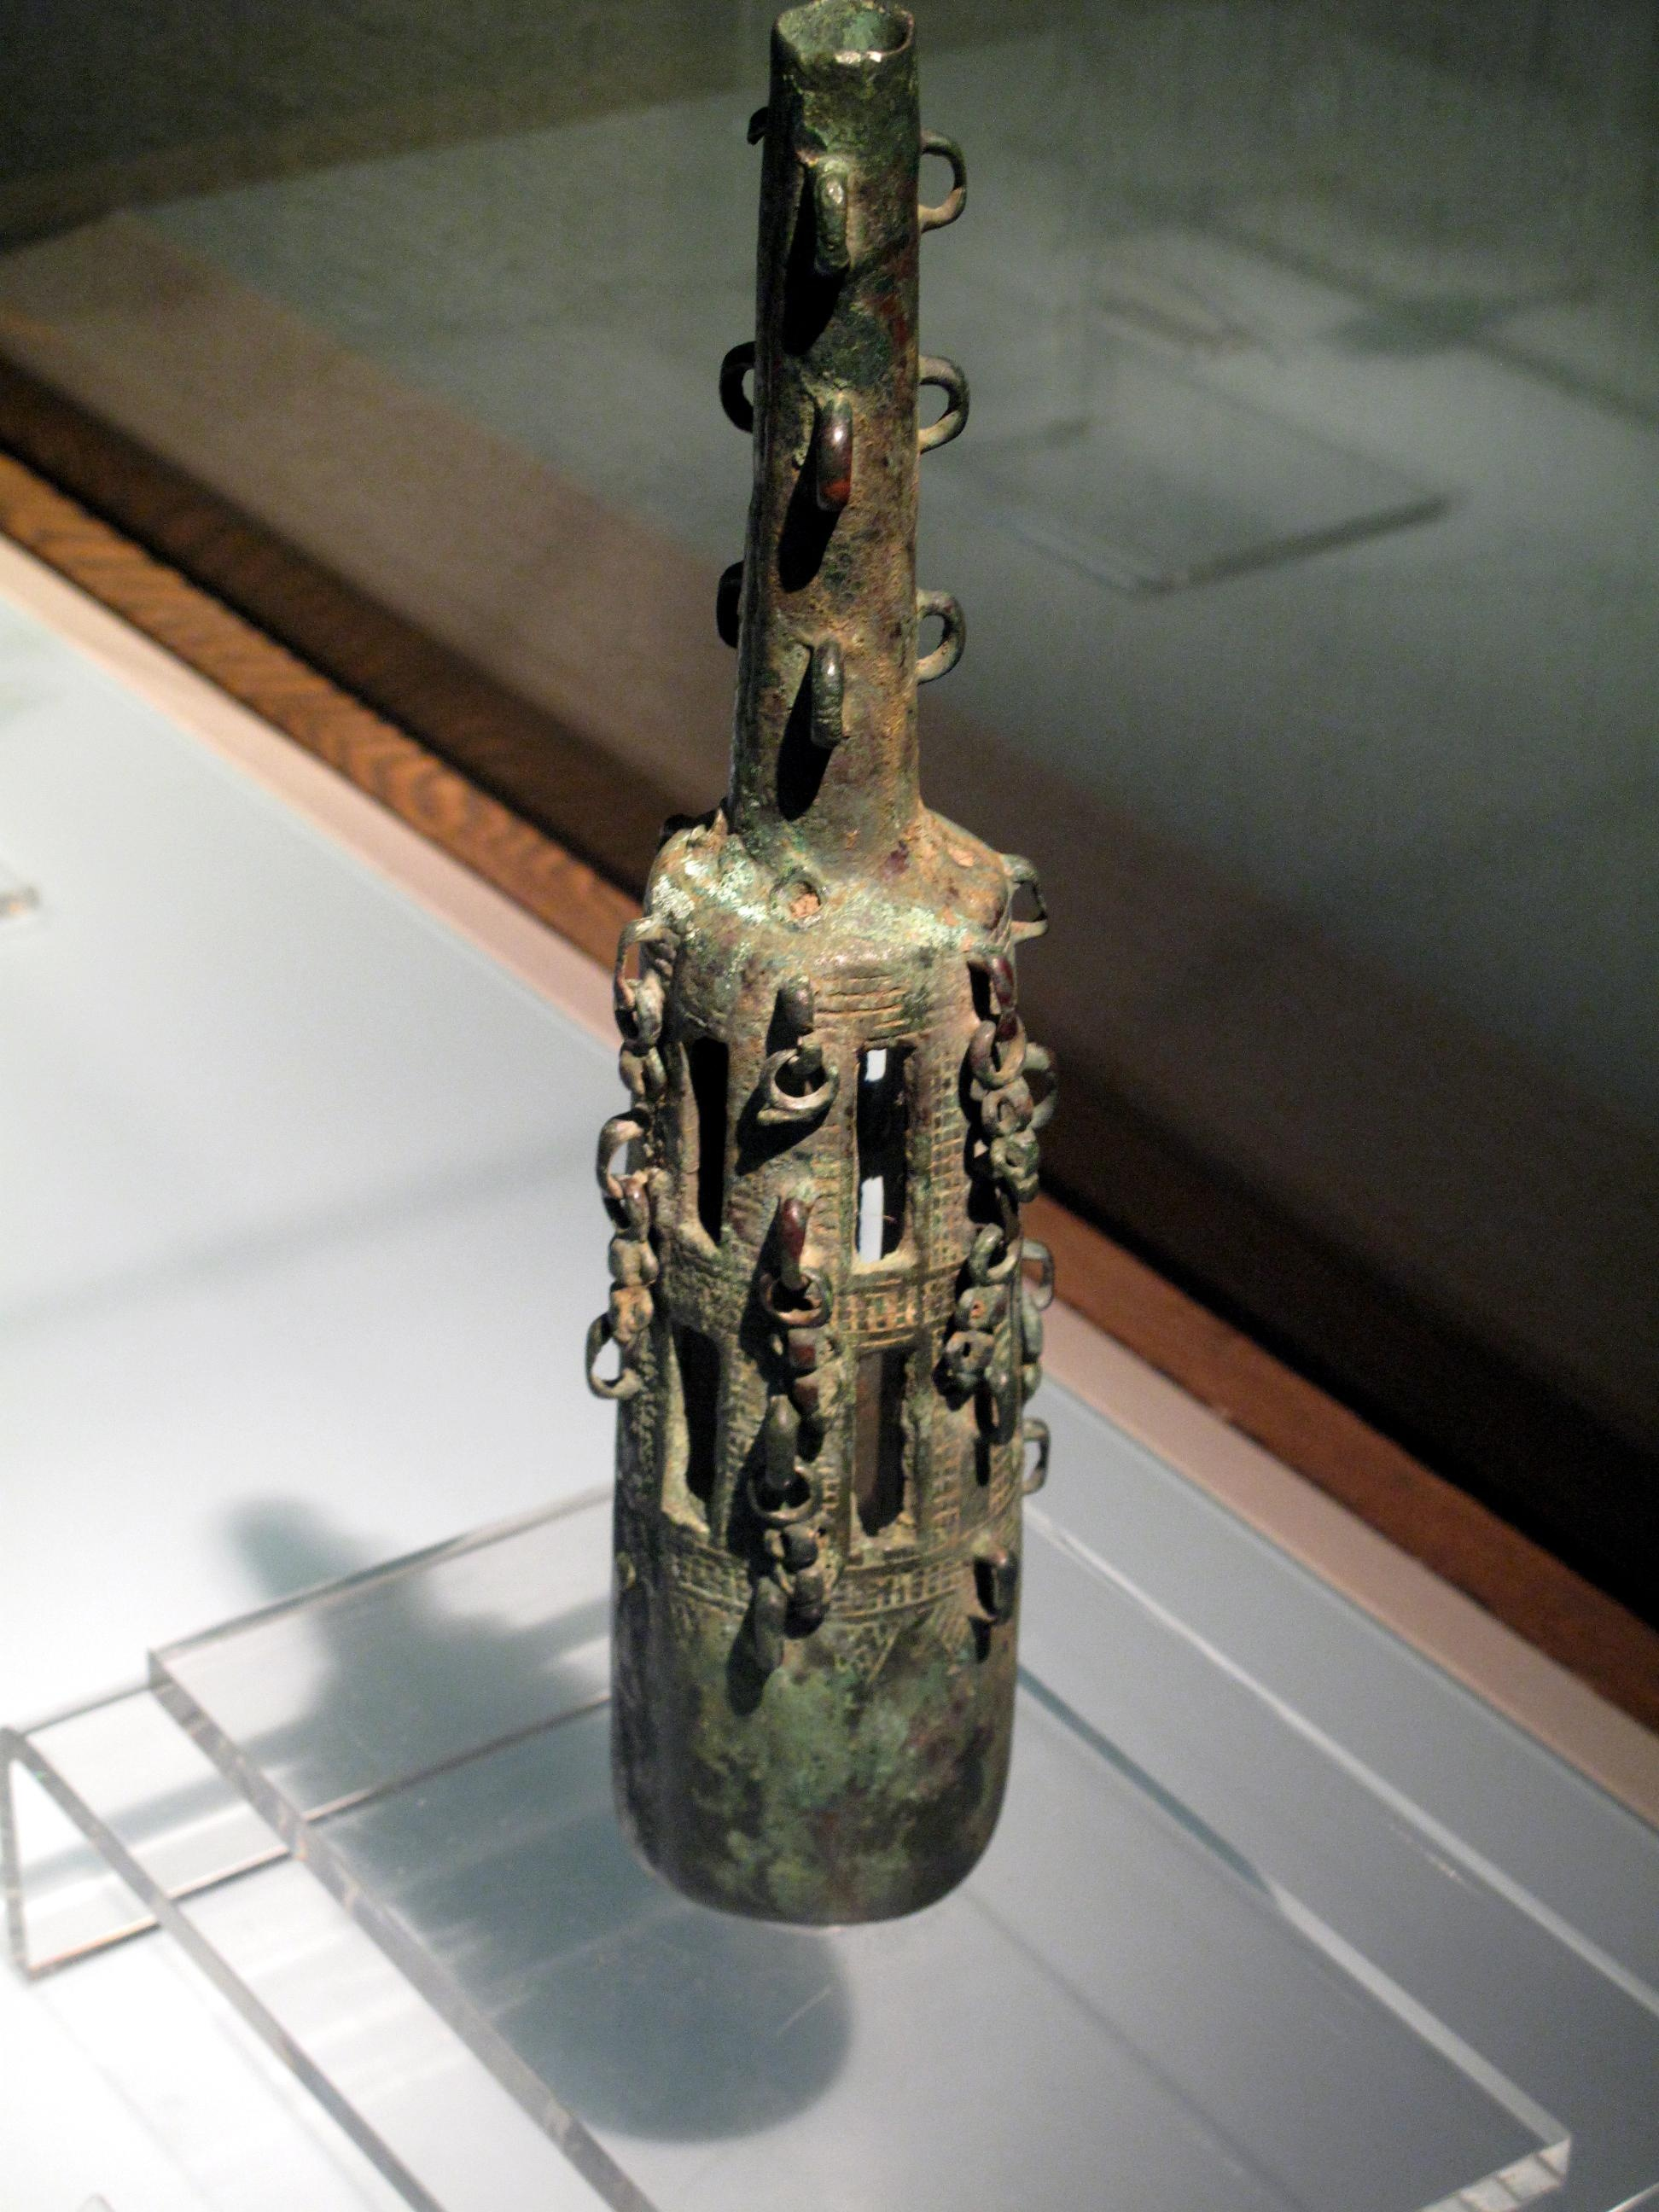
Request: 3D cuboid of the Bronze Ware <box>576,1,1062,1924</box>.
[{"bbox_3d":[-0.006,-0.001,1.529,0.316,1.149,0.553,5,4,5],"label":"Bronze Ware"}]
